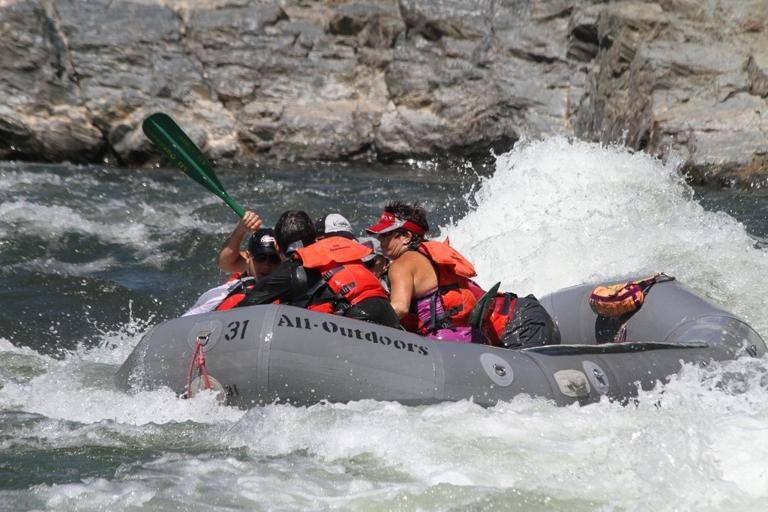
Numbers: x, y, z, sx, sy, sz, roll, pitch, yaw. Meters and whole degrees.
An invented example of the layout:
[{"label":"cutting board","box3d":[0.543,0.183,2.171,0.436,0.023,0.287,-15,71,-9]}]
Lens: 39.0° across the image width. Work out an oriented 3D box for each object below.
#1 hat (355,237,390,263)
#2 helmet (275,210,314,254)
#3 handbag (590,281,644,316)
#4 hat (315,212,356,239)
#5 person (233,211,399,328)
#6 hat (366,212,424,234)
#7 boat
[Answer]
[{"label":"hat","box3d":[-0.134,-0.073,12.183,0.367,0.270,0.112,7,62,0]},{"label":"helmet","box3d":[-0.957,-0.275,11.519,0.382,0.455,0.476,1,7,-4]},{"label":"handbag","box3d":[2.576,0.468,11.949,0.511,0.191,0.341,-10,33,10]},{"label":"hat","box3d":[-0.600,-0.316,11.598,0.250,0.190,0.369,-3,5,-37]},{"label":"person","box3d":[-0.723,0.180,11.387,0.748,1.301,0.833,-33,27,-34]},{"label":"hat","box3d":[0.112,-0.322,11.728,0.435,0.135,0.289,7,-6,-7]},{"label":"boat","box3d":[0.702,1.064,11.357,4.600,0.827,2.410,0,0,-9]}]
